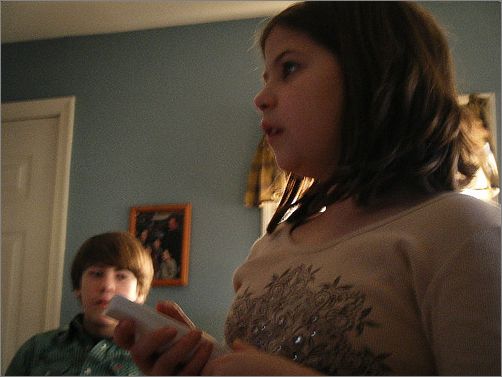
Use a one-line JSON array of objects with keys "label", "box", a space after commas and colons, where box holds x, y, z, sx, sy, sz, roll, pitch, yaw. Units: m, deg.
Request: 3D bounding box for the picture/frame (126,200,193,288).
[{"label": "picture/frame", "box": [-0.468, 0.306, 2.536, 0.402, 0.577, 0.042, -6, -22, 14]}]
